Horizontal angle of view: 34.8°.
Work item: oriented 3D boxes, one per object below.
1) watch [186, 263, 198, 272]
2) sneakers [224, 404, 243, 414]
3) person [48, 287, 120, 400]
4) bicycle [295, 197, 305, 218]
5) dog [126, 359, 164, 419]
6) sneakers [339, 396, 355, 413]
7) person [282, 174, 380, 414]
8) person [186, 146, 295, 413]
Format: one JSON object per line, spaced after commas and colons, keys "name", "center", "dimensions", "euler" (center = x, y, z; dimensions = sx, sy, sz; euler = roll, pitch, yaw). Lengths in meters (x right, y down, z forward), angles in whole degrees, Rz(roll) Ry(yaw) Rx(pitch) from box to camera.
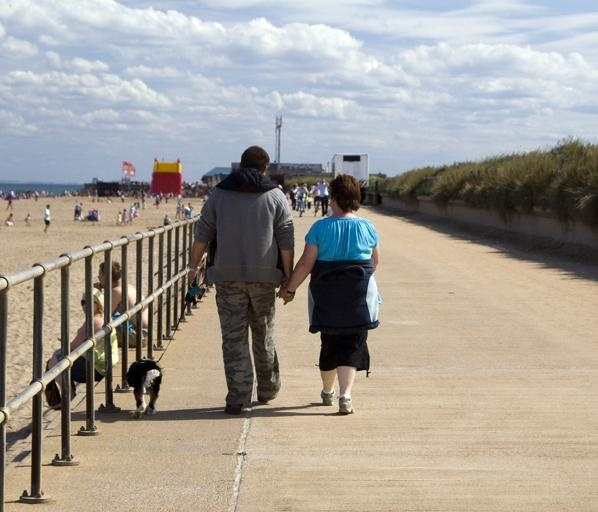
{"name": "watch", "center": [-0.836, 0.086, 7.250], "dimensions": [0.088, 0.102, 0.062], "euler": [0, -1, 12]}
{"name": "sneakers", "center": [-0.485, 1.111, 6.935], "dimensions": [0.121, 0.068, 0.065], "euler": [1, 7, -5]}
{"name": "person", "center": [-1.882, 0.781, 8.071], "dimensions": [0.600, 1.097, 0.393], "euler": [6, 11, 7]}
{"name": "bicycle", "center": [0.033, -2.162, 40.007], "dimensions": [0.428, 0.631, 1.006], "euler": [0, 0, 2]}
{"name": "dog", "center": [-1.157, 0.934, 7.012], "dimensions": [0.261, 0.391, 0.403], "euler": [0, 8, -11]}
{"name": "sneakers", "center": [0.345, 1.068, 6.976], "dimensions": [0.118, 0.139, 0.188], "euler": [2, 8, 2]}
{"name": "person", "center": [0.256, 0.269, 7.031], "dimensions": [0.673, 1.737, 0.473], "euler": [2, 7, 4]}
{"name": "person", "center": [-0.423, 0.159, 7.055], "dimensions": [0.762, 1.921, 0.501], "euler": [0, 7, -8]}
